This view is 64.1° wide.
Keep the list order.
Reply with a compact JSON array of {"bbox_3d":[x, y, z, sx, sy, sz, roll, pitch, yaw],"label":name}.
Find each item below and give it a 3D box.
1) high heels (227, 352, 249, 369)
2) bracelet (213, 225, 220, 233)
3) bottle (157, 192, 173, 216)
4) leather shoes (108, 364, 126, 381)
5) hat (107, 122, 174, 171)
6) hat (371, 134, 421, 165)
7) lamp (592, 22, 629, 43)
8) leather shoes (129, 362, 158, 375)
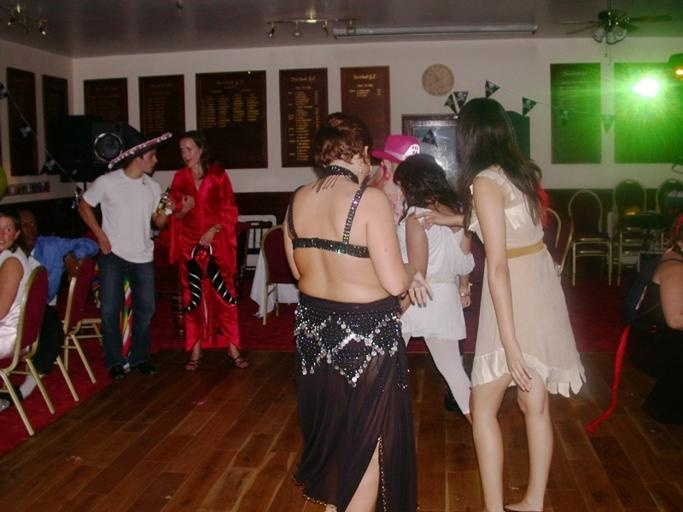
[{"bbox_3d":[-0.876,0.883,4.661,0.082,0.062,0.210,-1,8,-34],"label":"high heels"},{"bbox_3d":[-1.020,-0.217,4.449,0.038,0.066,0.081,3,10,22],"label":"bracelet"},{"bbox_3d":[-1.447,-0.418,4.427,0.127,0.185,0.257,-5,10,-24],"label":"bottle"},{"bbox_3d":[-1.823,0.936,4.406,0.127,0.116,0.117,-5,10,-27],"label":"leather shoes"},{"bbox_3d":[-1.675,-0.991,4.561,0.428,0.224,0.482,-28,1,7],"label":"hat"},{"bbox_3d":[0.373,-0.722,3.733,0.286,0.179,0.234,15,3,-3],"label":"hat"},{"bbox_3d":[3.618,-3.014,7.345,0.497,0.221,0.540,0,11,5],"label":"lamp"},{"bbox_3d":[-1.636,0.927,4.507,0.236,0.119,0.098,-2,3,12],"label":"leather shoes"}]
